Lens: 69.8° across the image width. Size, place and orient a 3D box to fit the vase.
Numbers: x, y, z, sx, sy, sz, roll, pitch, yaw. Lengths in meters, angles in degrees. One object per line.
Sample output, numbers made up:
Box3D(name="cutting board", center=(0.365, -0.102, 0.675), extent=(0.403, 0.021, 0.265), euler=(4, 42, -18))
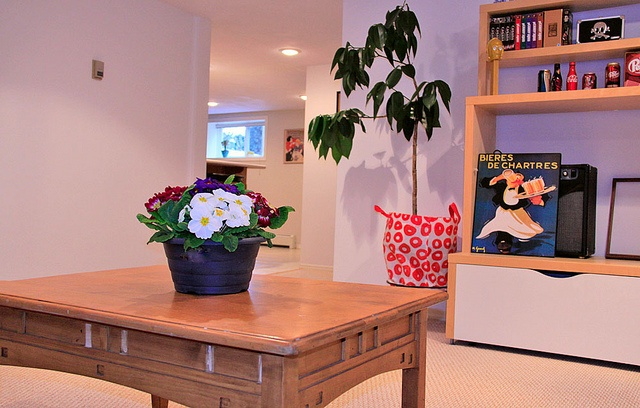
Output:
Box3D(name="vase", center=(-0.413, 0.237, 1.767), extent=(0.411, 0.186, 0.396), euler=(0, -5, 8))

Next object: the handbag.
Box3D(name="handbag", center=(0.687, 0.322, 3.364), extent=(0.739, 0.572, 0.370), euler=(5, -9, -23))
